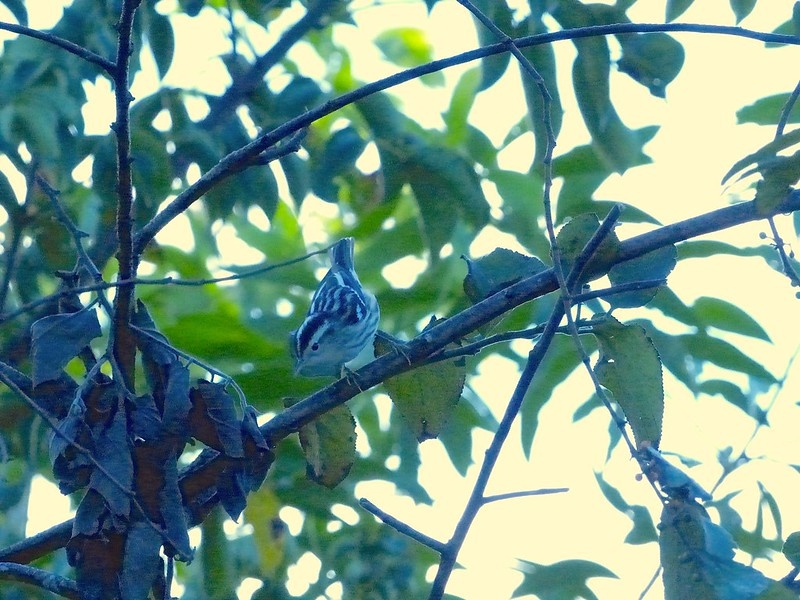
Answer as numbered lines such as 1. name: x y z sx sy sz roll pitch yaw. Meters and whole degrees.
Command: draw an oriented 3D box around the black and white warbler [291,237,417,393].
1. black and white warbler: -0.239 0.093 5.414 0.340 0.299 0.747 3 -84 25
